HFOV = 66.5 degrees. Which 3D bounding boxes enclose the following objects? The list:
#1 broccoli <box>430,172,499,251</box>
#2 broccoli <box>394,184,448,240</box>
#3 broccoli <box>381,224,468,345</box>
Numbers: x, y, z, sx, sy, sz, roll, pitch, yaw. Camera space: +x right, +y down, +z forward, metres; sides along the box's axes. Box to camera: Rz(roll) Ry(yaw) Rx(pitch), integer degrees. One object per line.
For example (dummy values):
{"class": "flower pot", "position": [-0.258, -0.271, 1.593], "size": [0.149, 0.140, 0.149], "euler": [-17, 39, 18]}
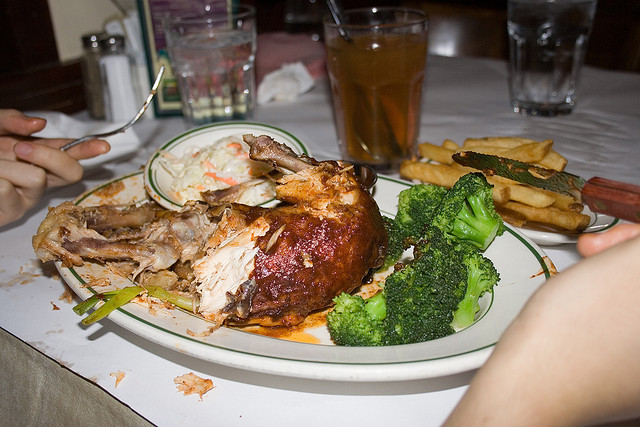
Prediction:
{"class": "broccoli", "position": [0.499, -0.008, 1.667], "size": [0.177, 0.239, 0.231], "euler": [-4, 8, 45]}
{"class": "broccoli", "position": [0.364, -0.026, 1.825], "size": [0.265, 0.267, 0.073], "euler": [-19, 71, 22]}
{"class": "broccoli", "position": [0.332, 0.225, 1.534], "size": [0.246, 0.208, 0.371], "euler": [8, 39, 16]}
